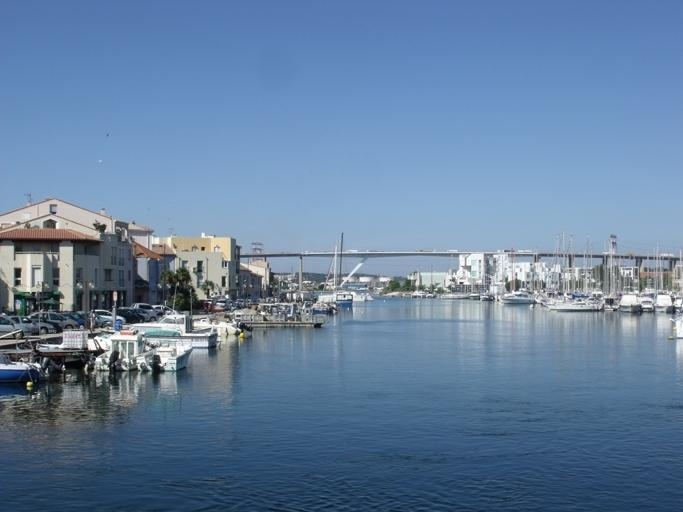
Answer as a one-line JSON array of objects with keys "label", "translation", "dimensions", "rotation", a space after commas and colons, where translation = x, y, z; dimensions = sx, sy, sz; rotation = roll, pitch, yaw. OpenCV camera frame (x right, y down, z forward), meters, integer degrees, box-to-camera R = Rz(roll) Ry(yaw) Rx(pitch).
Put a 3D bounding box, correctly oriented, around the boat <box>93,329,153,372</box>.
[{"label": "boat", "translation": [-15.488, 6.831, 69.891], "dimensions": [3.554, 3.056, 3.151], "rotation": [-5, -4, 6]}]
